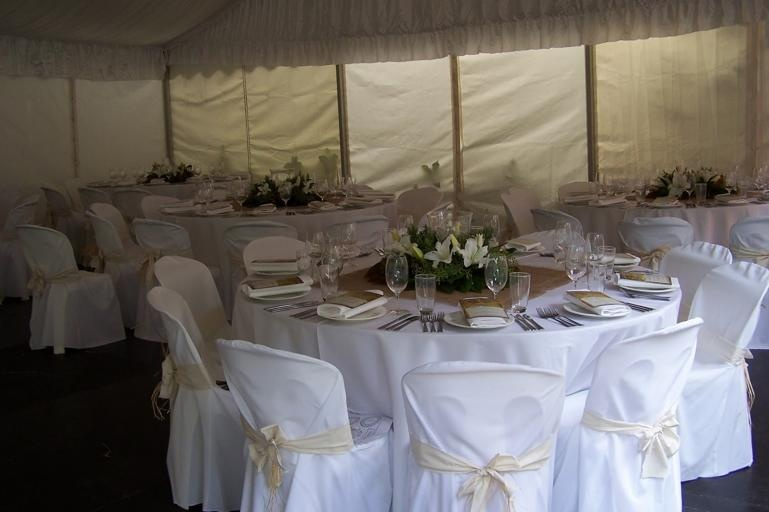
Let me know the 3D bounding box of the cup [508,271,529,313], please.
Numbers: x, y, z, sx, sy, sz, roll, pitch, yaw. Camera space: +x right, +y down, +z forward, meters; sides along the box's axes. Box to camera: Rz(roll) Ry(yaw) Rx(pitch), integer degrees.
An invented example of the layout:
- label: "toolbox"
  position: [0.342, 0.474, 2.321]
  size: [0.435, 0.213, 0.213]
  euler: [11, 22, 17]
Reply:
- label: "cup"
  position: [0.782, 0.190, 3.228]
  size: [0.099, 0.243, 0.269]
  euler: [-2, 9, 13]

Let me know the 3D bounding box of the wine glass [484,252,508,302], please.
- label: "wine glass"
  position: [0.669, 0.121, 3.338]
  size: [0.117, 0.292, 0.364]
  euler: [-3, 9, 11]

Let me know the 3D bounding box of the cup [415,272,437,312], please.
- label: "cup"
  position: [0.224, 0.200, 3.080]
  size: [0.102, 0.222, 0.088]
  euler: [-4, 9, 3]

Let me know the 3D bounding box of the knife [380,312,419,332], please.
- label: "knife"
  position: [0.077, 0.365, 3.120]
  size: [0.079, 0.014, 0.285]
  euler: [19, 23, 24]

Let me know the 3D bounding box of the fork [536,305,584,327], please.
- label: "fork"
  position: [0.971, 0.332, 3.144]
  size: [0.084, 0.037, 0.229]
  euler: [-13, 20, -17]

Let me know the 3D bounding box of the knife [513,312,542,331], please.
- label: "knife"
  position: [0.786, 0.356, 3.079]
  size: [0.118, 0.047, 0.211]
  euler: [-8, 9, -14]

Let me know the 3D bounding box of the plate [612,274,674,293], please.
- label: "plate"
  position: [1.646, 0.152, 3.500]
  size: [0.378, 0.111, 0.184]
  euler: [-4, 9, 10]
